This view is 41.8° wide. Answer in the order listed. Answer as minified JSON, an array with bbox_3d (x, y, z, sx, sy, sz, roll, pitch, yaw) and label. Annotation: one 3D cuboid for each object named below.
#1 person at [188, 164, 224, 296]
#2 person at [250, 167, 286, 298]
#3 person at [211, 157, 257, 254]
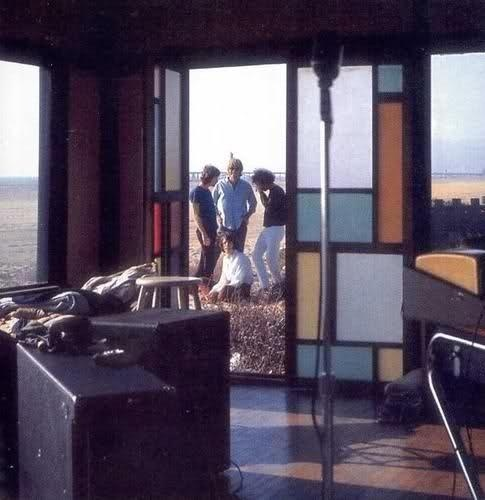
[{"bbox_3d":[-0.248,-0.169,4.517,0.265,1.386,0.396,-1,21,-2],"label":"person"},{"bbox_3d":[0.179,-0.120,4.402,0.231,0.893,0.572,-1,6,1],"label":"person"},{"bbox_3d":[-0.078,-0.190,4.820,0.321,1.072,0.245,0,26,-6],"label":"person"}]
